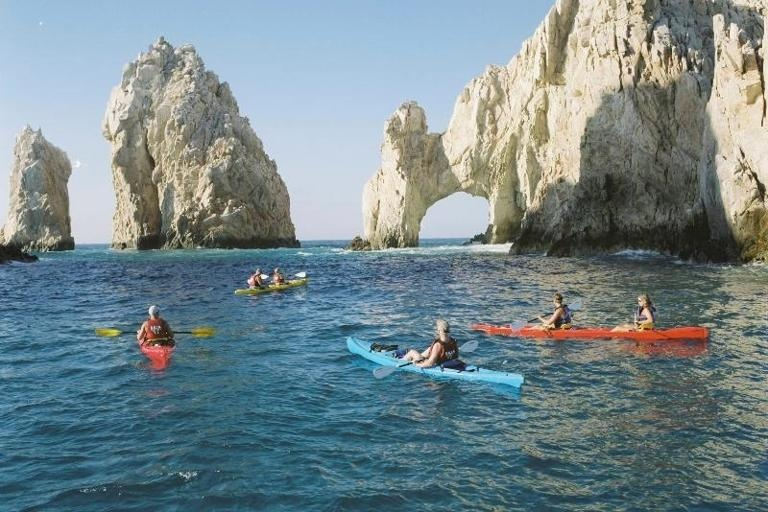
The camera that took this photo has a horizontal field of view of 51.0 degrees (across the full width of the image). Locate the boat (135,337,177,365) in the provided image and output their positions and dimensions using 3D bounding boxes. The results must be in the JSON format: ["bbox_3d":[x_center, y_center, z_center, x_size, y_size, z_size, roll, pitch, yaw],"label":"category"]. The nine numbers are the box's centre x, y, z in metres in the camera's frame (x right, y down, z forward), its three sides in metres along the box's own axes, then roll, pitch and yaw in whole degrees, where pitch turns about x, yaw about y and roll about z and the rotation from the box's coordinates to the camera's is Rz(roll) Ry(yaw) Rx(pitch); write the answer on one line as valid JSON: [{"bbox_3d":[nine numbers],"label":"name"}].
[{"bbox_3d":[-11.293,4.767,39.750,1.577,1.428,1.750,-3,0,-10],"label":"boat"}]

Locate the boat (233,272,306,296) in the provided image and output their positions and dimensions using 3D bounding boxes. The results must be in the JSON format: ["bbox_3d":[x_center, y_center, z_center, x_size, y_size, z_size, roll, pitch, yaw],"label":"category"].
[{"bbox_3d":[-7.266,1.985,55.225,1.619,1.025,5.675,16,18,35],"label":"boat"}]
